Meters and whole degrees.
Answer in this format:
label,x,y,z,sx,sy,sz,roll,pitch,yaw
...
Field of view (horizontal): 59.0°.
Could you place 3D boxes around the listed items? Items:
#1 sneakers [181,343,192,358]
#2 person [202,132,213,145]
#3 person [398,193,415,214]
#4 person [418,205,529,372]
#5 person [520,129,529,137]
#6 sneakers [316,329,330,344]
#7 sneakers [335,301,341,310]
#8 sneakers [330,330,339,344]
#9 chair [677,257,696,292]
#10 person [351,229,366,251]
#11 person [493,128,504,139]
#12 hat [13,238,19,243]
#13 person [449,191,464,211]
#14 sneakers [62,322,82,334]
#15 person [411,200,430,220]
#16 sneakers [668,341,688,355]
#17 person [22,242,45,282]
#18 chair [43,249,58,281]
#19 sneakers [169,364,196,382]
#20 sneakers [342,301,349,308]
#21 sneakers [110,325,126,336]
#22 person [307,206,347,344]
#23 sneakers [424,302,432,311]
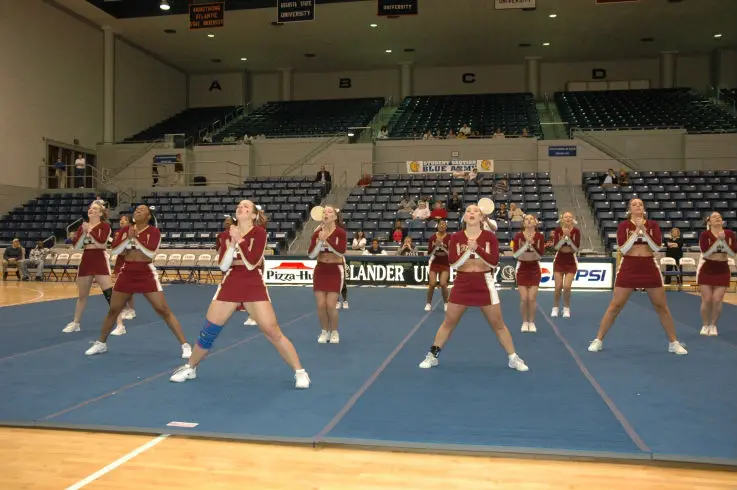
label,x,y,z,sx,sy,sz,roll,pitch,yaw
sneakers,-3.260,1.941,11.900,0.214,0.275,0.462,1,-8,-11
person,-8.570,-5.651,34.687,0.574,0.719,1.277,1,14,-10
person,1.475,-1.607,25.864,0.771,0.980,0.620,1,-27,11
person,1.802,0.733,11.200,1.640,2.823,0.689,1,4,11
person,7.439,-5.380,31.213,0.364,0.526,1.262,1,4,13
sneakers,-0.928,1.860,13.193,0.216,0.208,0.506,-1,-8,6
sneakers,-0.791,1.613,17.479,0.192,0.215,0.555,-1,-5,2
sneakers,-0.699,1.850,13.085,0.213,0.188,0.461,0,-7,-2
chair,10.231,0.927,20.908,0.615,0.930,0.636,-1,8,31
person,-0.284,-0.153,22.216,0.432,0.745,0.665,-2,5,-25
person,6.199,-5.379,31.259,0.618,0.312,0.926,1,6,9
hat,-13.368,-0.182,24.710,0.233,0.182,0.162,-5,-1,21
person,3.394,-1.663,25.258,0.587,0.795,0.301,-1,-1,28
sneakers,-6.239,1.746,13.738,0.438,0.175,0.181,2,-2,0
person,1.986,-1.313,24.986,0.579,0.450,0.763,-14,33,24
sneakers,5.725,1.913,12.066,0.170,0.155,0.376,-1,-7,4
person,-12.200,0.614,23.848,0.866,1.319,1.556,-2,5,-27
chair,-11.977,0.712,24.565,0.552,1.005,1.866,-2,5,-26
sneakers,-3.017,2.108,10.654,0.435,0.190,0.202,3,-9,-40
sneakers,-0.619,1.566,17.282,0.173,0.190,0.203,-1,5,5
sneakers,-5.179,1.781,13.573,0.328,0.212,0.157,10,-8,-2
person,-0.815,0.593,12.954,0.688,2.728,0.831,0,4,-2
sneakers,1.538,1.608,17.006,0.174,0.194,0.471,-1,-6,9
